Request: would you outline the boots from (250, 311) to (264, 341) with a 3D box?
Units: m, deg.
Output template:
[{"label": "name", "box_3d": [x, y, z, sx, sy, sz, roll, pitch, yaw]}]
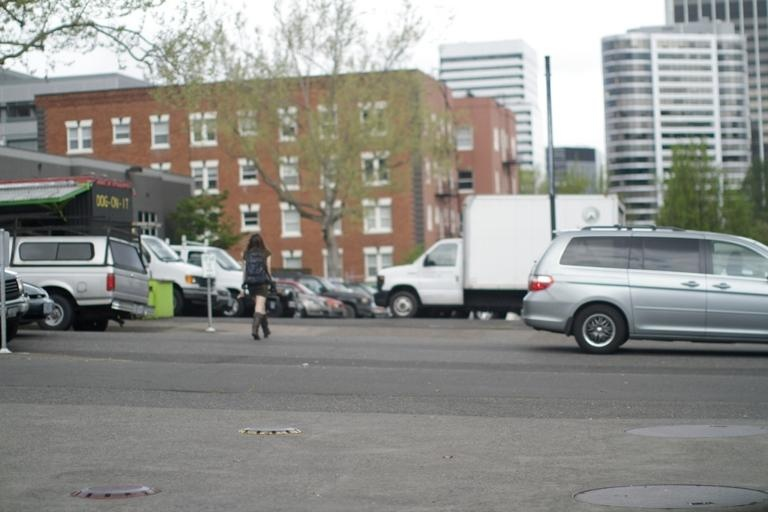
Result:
[{"label": "boots", "box_3d": [-3.004, 1.613, 35.205, 0.329, 0.697, 0.897, -1, 8, -5]}]
